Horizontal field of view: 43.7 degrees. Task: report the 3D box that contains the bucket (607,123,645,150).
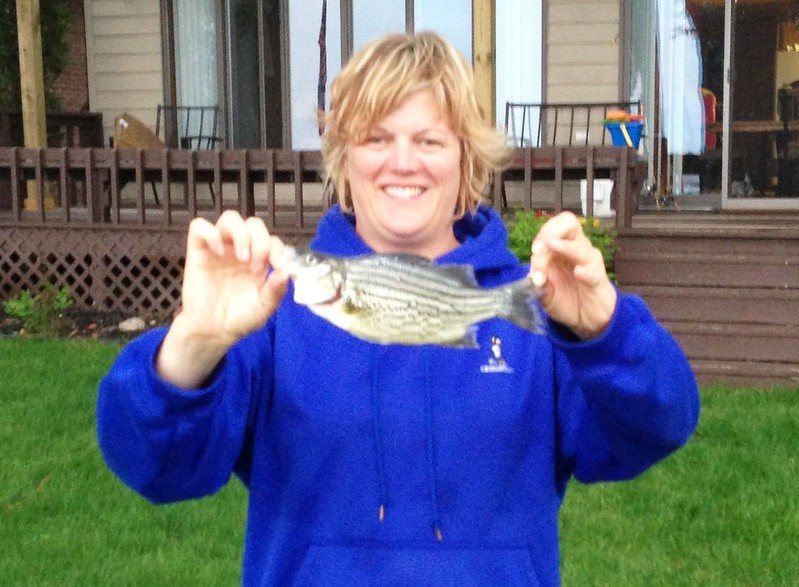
[{"bbox_3d":[2.970,-2.118,13.206,0.507,0.487,0.512,0,7,0],"label":"bucket"}]
